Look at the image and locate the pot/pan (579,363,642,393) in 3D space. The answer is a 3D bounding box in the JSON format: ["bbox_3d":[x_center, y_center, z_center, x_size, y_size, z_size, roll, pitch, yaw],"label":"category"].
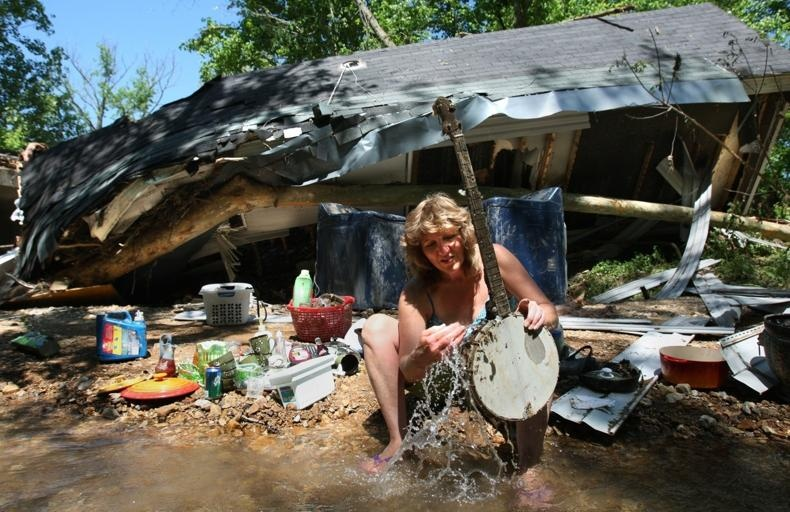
[{"bbox_3d":[2.010,1.132,4.999,0.382,0.146,0.352,-1,4,16],"label":"pot/pan"}]

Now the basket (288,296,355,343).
[{"bbox_3d":[-0.836,0.774,6.461,0.771,0.503,0.476,-7,9,-7],"label":"basket"}]

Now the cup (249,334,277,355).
[{"bbox_3d":[-1.345,0.914,5.612,0.230,0.202,0.210,-8,6,1],"label":"cup"}]

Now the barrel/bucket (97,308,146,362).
[{"bbox_3d":[-3.008,0.908,5.983,0.642,0.578,0.228,1,0,-29],"label":"barrel/bucket"}]

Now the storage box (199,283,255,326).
[{"bbox_3d":[-2.315,0.642,7.615,0.783,0.470,0.585,0,-5,-10],"label":"storage box"}]

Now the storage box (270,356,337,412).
[{"bbox_3d":[-0.832,1.246,5.268,0.481,0.336,0.731,-25,-6,40],"label":"storage box"}]

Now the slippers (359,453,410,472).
[{"bbox_3d":[-0.078,1.691,4.393,0.368,0.081,0.148,-14,48,4],"label":"slippers"}]
